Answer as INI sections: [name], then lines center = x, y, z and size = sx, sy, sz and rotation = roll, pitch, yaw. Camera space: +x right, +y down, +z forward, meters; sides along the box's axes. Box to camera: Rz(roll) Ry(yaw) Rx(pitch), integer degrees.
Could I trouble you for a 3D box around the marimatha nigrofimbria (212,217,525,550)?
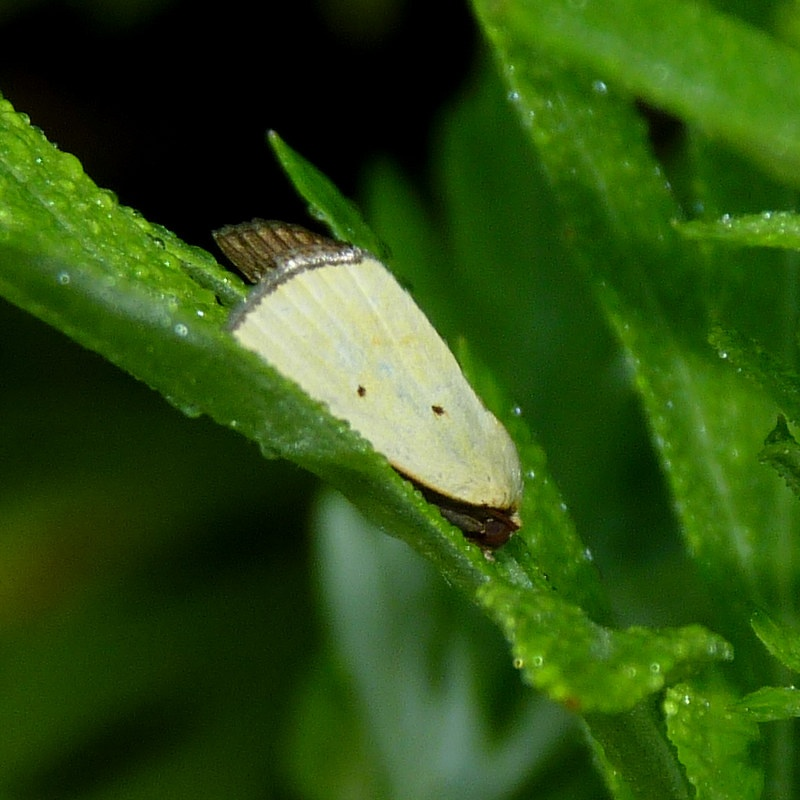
[marimatha nigrofimbria]
center = -0.007, -0.011, 0.412
size = 0.035, 0.155, 0.090
rotation = -30, 13, 43
